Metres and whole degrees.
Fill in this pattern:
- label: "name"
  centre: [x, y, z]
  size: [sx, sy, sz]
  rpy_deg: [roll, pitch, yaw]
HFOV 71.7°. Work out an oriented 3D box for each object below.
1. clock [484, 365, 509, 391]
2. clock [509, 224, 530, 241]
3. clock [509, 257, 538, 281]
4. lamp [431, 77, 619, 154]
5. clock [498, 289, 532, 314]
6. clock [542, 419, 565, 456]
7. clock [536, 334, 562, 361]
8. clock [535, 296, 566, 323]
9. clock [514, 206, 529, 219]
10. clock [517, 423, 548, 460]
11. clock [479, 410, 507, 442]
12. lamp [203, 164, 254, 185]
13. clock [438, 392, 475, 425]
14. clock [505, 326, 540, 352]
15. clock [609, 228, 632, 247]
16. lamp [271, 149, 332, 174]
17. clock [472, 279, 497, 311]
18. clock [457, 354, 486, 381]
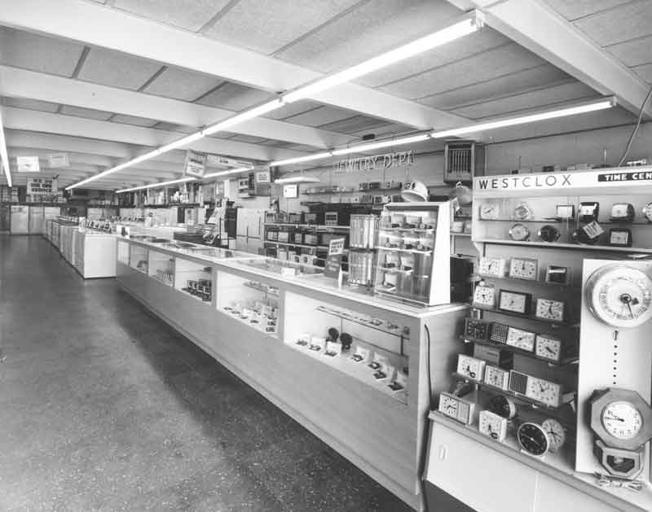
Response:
- label: "clock"
  centre: [1.335, 0.955, 3.531]
  size: [0.069, 0.184, 0.189]
  rpy_deg: [-2, 6, -43]
- label: "clock"
  centre: [1.701, -0.202, 3.949]
  size: [0.146, 0.154, 0.048]
  rpy_deg: [12, 9, 42]
- label: "clock"
  centre: [1.628, 0.106, 3.700]
  size: [0.176, 0.172, 0.043]
  rpy_deg: [7, -1, 42]
- label: "lamp"
  centre: [2.609, -1.825, 6.138]
  size: [2.390, 0.447, 1.003]
  rpy_deg: [14, 17, 42]
- label: "clock"
  centre: [1.524, 0.376, 3.639]
  size: [0.181, 0.164, 0.066]
  rpy_deg: [5, 2, 43]
- label: "clock"
  centre: [1.650, 1.300, 3.291]
  size: [0.203, 0.047, 0.205]
  rpy_deg: [37, 42, 0]
- label: "clock"
  centre: [1.680, 0.694, 3.397]
  size: [0.179, 0.179, 0.096]
  rpy_deg: [4, 3, 45]
- label: "clock"
  centre: [1.748, 0.421, 3.502]
  size: [0.065, 0.190, 0.204]
  rpy_deg: [0, 2, -44]
- label: "clock"
  centre: [1.754, -0.385, 4.037]
  size: [0.108, 0.117, 0.112]
  rpy_deg: [5, 0, -18]
- label: "clock"
  centre: [1.482, 1.284, 3.198]
  size: [0.082, 0.247, 0.213]
  rpy_deg: [-5, 7, -42]
- label: "clock"
  centre: [1.231, 1.264, 3.330]
  size: [0.202, 0.183, 0.105]
  rpy_deg: [7, 9, 44]
- label: "lamp"
  centre: [-2.869, -2.355, 12.975]
  size: [1.153, 0.676, 5.297]
  rpy_deg: [-1, 13, -15]
- label: "clock"
  centre: [1.011, 1.179, 3.514]
  size: [0.082, 0.173, 0.256]
  rpy_deg: [4, 2, -40]
- label: "clock"
  centre: [1.529, 0.657, 3.515]
  size: [0.204, 0.158, 0.027]
  rpy_deg: [4, -3, 43]
- label: "clock"
  centre: [2.515, -0.173, 3.875]
  size: [0.168, 0.174, 0.154]
  rpy_deg: [7, 9, 44]
- label: "lamp"
  centre: [-0.531, -2.213, 10.464]
  size: [0.087, 0.263, 1.653]
  rpy_deg: [14, -12, -39]
- label: "clock"
  centre: [1.355, 0.335, 3.831]
  size: [0.134, 0.256, 0.252]
  rpy_deg: [1, 1, -29]
- label: "clock"
  centre: [1.182, 0.903, 3.644]
  size: [0.198, 0.186, 0.077]
  rpy_deg: [12, 10, 42]
